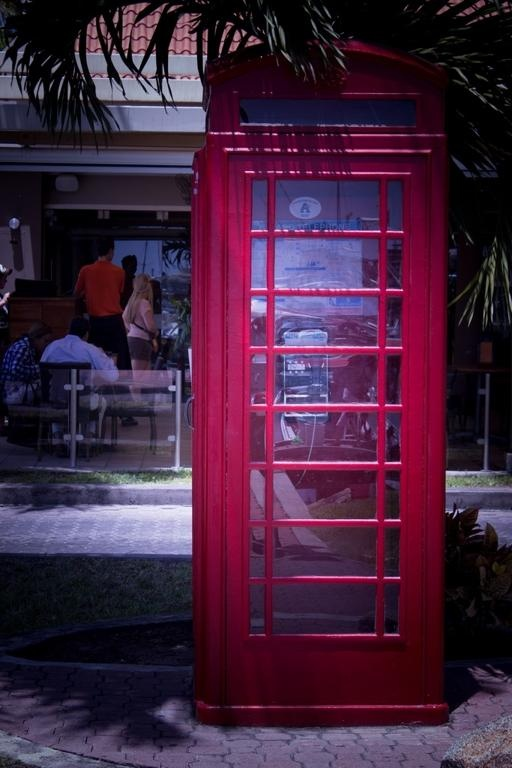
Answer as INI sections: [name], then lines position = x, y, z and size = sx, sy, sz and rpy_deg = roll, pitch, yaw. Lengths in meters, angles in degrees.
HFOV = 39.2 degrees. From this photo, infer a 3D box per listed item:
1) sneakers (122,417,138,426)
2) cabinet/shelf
[sneakers]
position = -1.581, 0.491, 9.055
size = 0.120, 0.062, 0.148
rpy_deg = 1, 1, 2
[cabinet/shelf]
position = -3.504, -1.023, 12.064
size = 1.321, 0.775, 1.196
rpy_deg = 1, 4, 4
